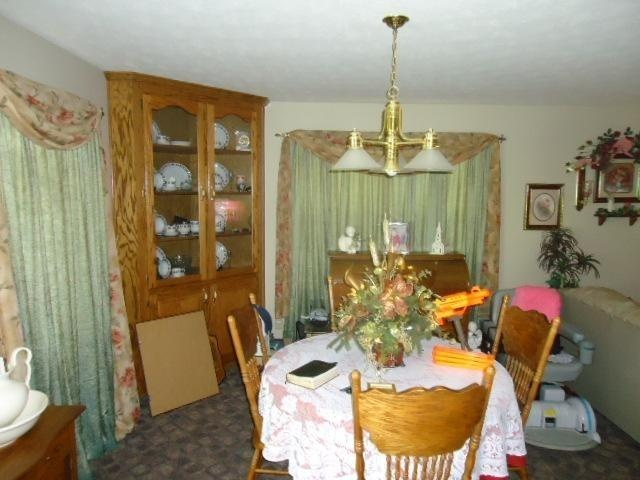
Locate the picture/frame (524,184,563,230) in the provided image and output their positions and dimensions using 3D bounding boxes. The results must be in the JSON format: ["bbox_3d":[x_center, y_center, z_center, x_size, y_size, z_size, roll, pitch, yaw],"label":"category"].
[{"bbox_3d":[2.848,-0.442,6.038,0.625,0.732,0.077,0,4,-1],"label":"picture/frame"}]

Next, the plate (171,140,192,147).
[{"bbox_3d":[-1.441,-1.002,4.922,0.224,0.087,0.063,-4,6,-28],"label":"plate"}]

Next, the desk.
[{"bbox_3d":[0.673,0.480,3.955,1.064,0.908,0.383,-1,-4,1],"label":"desk"}]

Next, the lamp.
[{"bbox_3d":[0.624,-1.059,3.675,0.808,1.153,1.382,0,5,18],"label":"lamp"}]

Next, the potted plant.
[{"bbox_3d":[3.132,0.198,5.889,0.769,0.700,0.544,-2,5,-3],"label":"potted plant"}]

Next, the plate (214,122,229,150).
[{"bbox_3d":[-1.087,-1.140,5.200,0.033,0.230,0.240,12,12,37],"label":"plate"}]

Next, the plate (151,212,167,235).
[{"bbox_3d":[-1.625,-0.160,4.850,0.060,0.230,0.203,0,5,19],"label":"plate"}]

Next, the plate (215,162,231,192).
[{"bbox_3d":[-1.088,-0.695,5.250,0.044,0.247,0.261,1,-8,34],"label":"plate"}]

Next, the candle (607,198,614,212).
[{"bbox_3d":[3.692,-0.445,6.041,0.070,0.173,0.168,2,6,31],"label":"candle"}]

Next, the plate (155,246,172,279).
[{"bbox_3d":[-1.619,0.234,4.842,0.094,0.316,0.202,0,6,20],"label":"plate"}]
